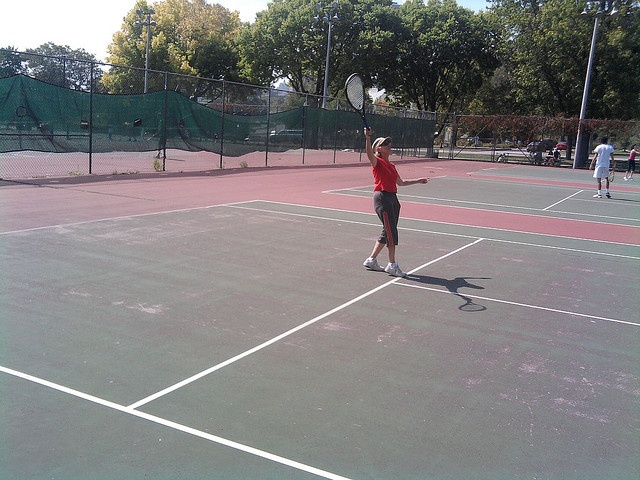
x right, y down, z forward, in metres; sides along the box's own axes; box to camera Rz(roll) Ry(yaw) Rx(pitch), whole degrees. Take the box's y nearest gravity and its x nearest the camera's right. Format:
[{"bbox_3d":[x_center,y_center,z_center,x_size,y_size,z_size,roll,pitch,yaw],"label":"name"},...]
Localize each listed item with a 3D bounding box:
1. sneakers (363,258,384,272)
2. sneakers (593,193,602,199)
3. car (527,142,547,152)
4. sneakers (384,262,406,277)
[{"bbox_3d":[0.905,0.398,8.252,0.387,0.196,0.144,18,9,-17],"label":"sneakers"},{"bbox_3d":[10.859,-1.724,20.212,0.157,0.198,0.438,-3,7,-26],"label":"sneakers"},{"bbox_3d":[18.964,-8.161,45.158,1.604,0.817,2.562,0,2,30],"label":"car"},{"bbox_3d":[1.165,0.449,7.971,0.335,0.172,0.138,8,14,8],"label":"sneakers"}]
